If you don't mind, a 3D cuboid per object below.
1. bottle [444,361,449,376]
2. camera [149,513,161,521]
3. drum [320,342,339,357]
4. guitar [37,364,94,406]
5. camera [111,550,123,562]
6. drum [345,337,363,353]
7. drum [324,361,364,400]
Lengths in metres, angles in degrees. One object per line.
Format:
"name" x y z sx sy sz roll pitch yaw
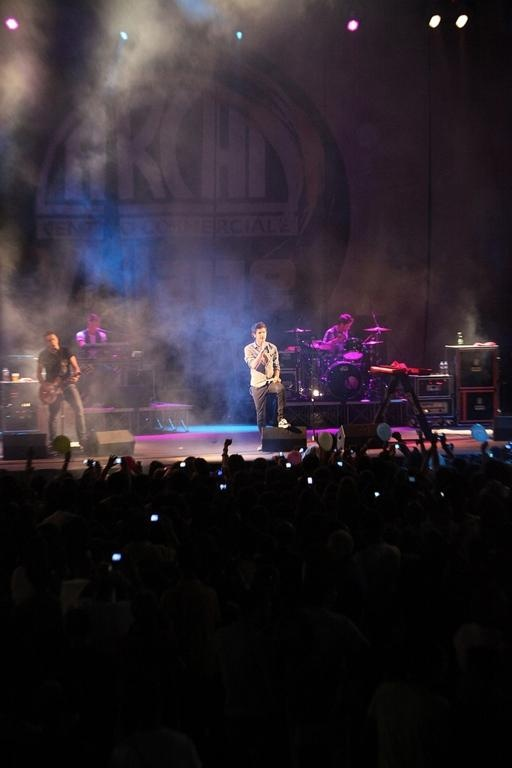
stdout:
"bottle" 2.491 -0.215 9.306 0.095 0.162 0.316 -1 -1 15
"camera" -0.298 0.395 2.095 0.022 0.017 0.013 0 -5 -11
"drum" 0.906 -0.431 8.785 0.220 0.157 0.108 -1 -1 0
"guitar" -1.883 0.004 6.876 0.470 0.263 0.071 -25 1 -14
"camera" -0.368 0.461 1.868 0.025 0.018 0.043 -1 -1 -19
"drum" 1.256 -0.481 8.865 0.191 0.181 0.328 -1 -1 32
"drum" 1.103 -0.027 8.569 0.581 0.414 0.372 -1 -1 -16
